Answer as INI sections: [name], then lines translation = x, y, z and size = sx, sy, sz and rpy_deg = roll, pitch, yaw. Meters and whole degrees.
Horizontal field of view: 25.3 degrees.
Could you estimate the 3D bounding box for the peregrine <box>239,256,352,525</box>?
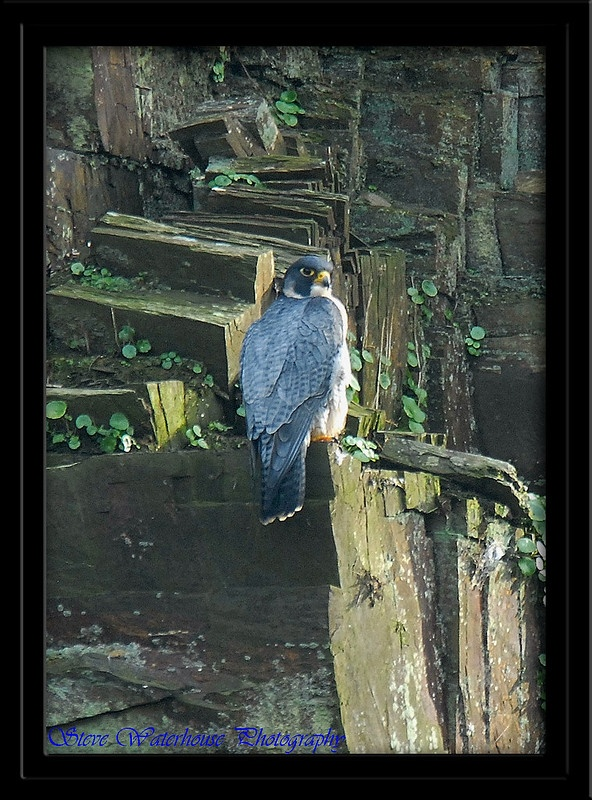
[peregrine]
translation = -0.028, -0.032, 3.990
size = 0.270, 0.805, 0.330
rpy_deg = 3, 3, 21
